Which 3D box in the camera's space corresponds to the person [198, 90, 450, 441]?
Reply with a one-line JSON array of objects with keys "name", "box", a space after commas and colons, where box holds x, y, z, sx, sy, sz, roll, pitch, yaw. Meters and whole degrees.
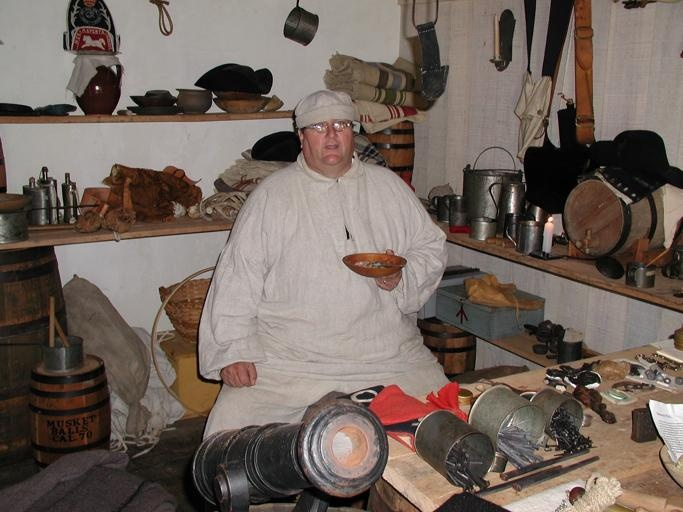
[{"name": "person", "box": [-0.114, -0.034, 3.066, 1.430, 1.761, 0.768, -3, 14, -9]}]

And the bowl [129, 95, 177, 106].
[{"name": "bowl", "box": [-1.448, -1.205, 4.189, 0.330, 0.121, 0.211, -4, 14, -12]}]

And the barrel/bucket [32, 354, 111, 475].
[{"name": "barrel/bucket", "box": [-1.788, 1.009, 3.585, 0.466, 0.662, 0.465, -2, -7, 0]}]

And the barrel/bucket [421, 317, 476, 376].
[{"name": "barrel/bucket", "box": [0.820, 0.697, 4.356, 0.436, 0.441, 0.441, -1, 9, 0]}]

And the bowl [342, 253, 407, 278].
[{"name": "bowl", "box": [0.183, 0.069, 2.924, 0.345, 0.126, 0.293, -2, 14, -5]}]

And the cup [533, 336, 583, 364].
[{"name": "cup", "box": [1.380, 0.589, 3.467, 0.270, 0.204, 0.216, 4, 8, 29]}]

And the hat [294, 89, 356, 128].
[{"name": "hat", "box": [-0.102, -0.864, 3.191, 0.260, 0.144, 0.247, -14, 18, -15]}]

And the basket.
[{"name": "basket", "box": [-1.217, 0.375, 4.366, 0.501, 0.450, 0.505, -1, 12, -10]}]

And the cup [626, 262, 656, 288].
[{"name": "cup", "box": [1.560, 0.100, 2.838, 0.143, 0.101, 0.110, -4, 10, -23]}]

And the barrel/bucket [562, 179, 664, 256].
[{"name": "barrel/bucket", "box": [1.525, -0.192, 3.062, 0.522, 0.492, 0.282, 7, 16, 29]}]

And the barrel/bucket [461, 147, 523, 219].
[{"name": "barrel/bucket", "box": [1.092, -0.508, 3.879, 0.488, 0.574, 0.380, 5, 20, 18]}]

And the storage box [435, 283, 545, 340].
[{"name": "storage box", "box": [1.090, 0.413, 3.796, 0.403, 0.177, 0.527, -4, 13, -21]}]
